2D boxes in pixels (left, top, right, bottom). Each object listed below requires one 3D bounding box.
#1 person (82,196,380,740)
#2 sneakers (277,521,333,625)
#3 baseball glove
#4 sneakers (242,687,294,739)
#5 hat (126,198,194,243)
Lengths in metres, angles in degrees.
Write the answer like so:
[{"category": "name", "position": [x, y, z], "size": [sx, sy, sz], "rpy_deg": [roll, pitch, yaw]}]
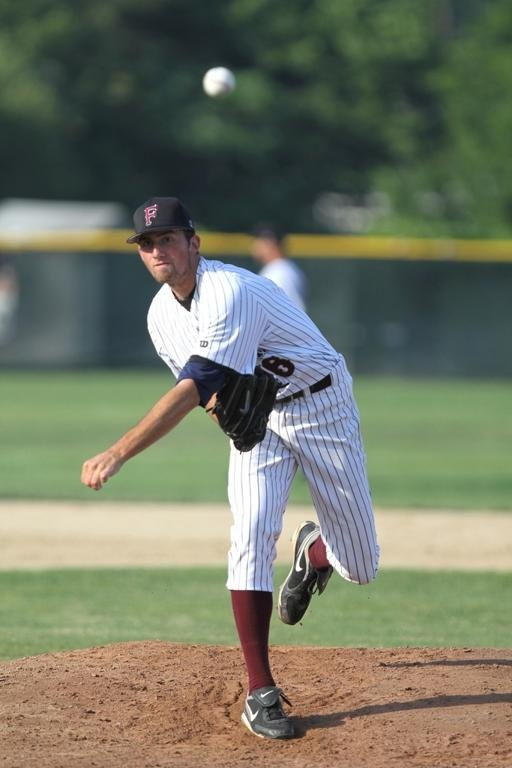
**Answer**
[{"category": "person", "position": [-0.052, 0.217, 3.087], "size": [0.598, 1.456, 1.031], "rpy_deg": [1, 8, 16]}, {"category": "sneakers", "position": [0.198, 0.678, 3.770], "size": [0.194, 0.391, 0.144], "rpy_deg": [-8, -32, 34]}, {"category": "baseball glove", "position": [-0.011, 0.074, 3.010], "size": [0.173, 0.190, 0.073], "rpy_deg": [-23, 8, 24]}, {"category": "sneakers", "position": [0.043, 0.897, 3.017], "size": [0.082, 0.082, 0.200], "rpy_deg": [-2, 1, -22]}, {"category": "hat", "position": [-0.266, -0.455, 3.063], "size": [0.181, 0.125, 0.210], "rpy_deg": [-2, 7, -7]}]
